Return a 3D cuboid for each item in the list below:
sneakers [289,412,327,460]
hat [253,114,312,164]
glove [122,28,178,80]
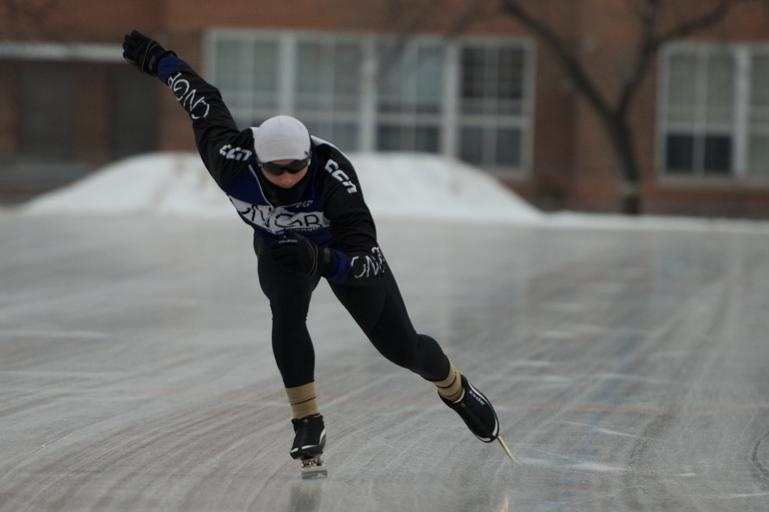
[{"bbox_3d":[-0.435,1.051,5.532,0.123,0.156,0.347,-5,-3,6],"label":"sneakers"},{"bbox_3d":[-0.570,-0.677,5.337,0.228,0.243,0.307,-4,-26,-5],"label":"hat"},{"bbox_3d":[-1.508,-1.331,6.029,0.343,0.277,0.156,26,48,-1],"label":"glove"}]
